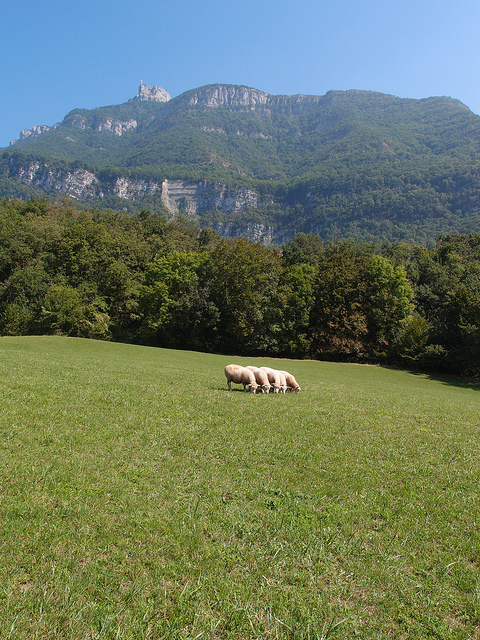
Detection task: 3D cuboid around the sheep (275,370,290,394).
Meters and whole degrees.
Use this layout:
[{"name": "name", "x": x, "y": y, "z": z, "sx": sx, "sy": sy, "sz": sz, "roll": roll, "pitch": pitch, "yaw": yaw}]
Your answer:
[{"name": "sheep", "x": 1.425, "y": 2.179, "z": 21.766, "sx": 0.424, "sy": 0.818, "sz": 1.355, "roll": -3, "pitch": 6, "yaw": -5}]

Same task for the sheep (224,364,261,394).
[{"name": "sheep", "x": -0.004, "y": 2.013, "z": 21.001, "sx": 1.178, "sy": 0.828, "sz": 0.911, "roll": 7, "pitch": 6, "yaw": 18}]

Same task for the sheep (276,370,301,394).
[{"name": "sheep", "x": 1.799, "y": 2.157, "z": 22.351, "sx": 0.353, "sy": 0.838, "sz": 1.392, "roll": -4, "pitch": 8, "yaw": -22}]
